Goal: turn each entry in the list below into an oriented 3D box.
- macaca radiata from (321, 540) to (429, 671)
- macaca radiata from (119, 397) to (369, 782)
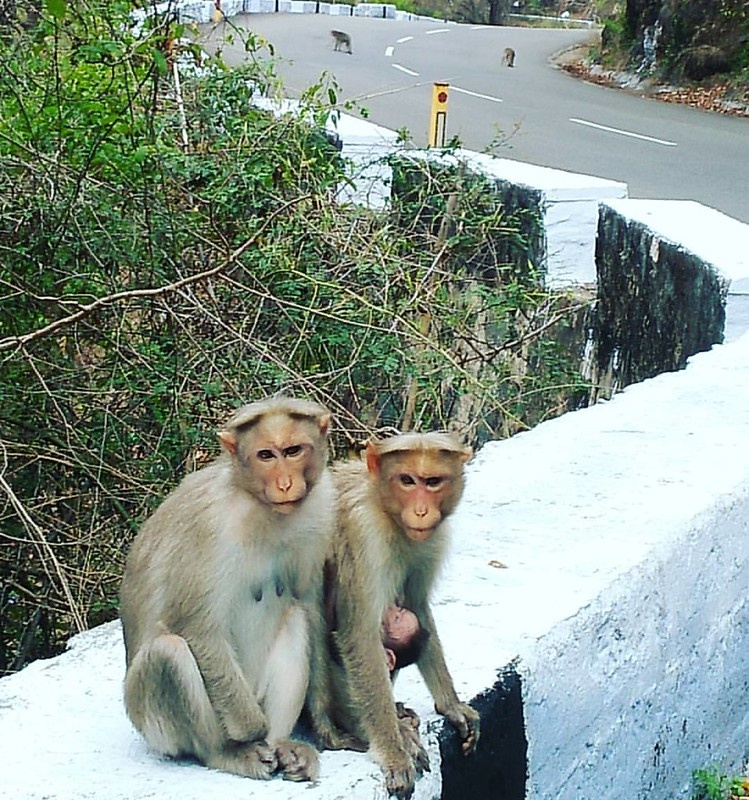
[{"bbox_3d":[-0.004,0.581,4.231,0.258,0.316,0.319,-2,4,-5],"label":"macaca radiata"},{"bbox_3d":[-0.405,0.504,3.918,0.587,0.937,0.551,1,26,-2],"label":"macaca radiata"}]
